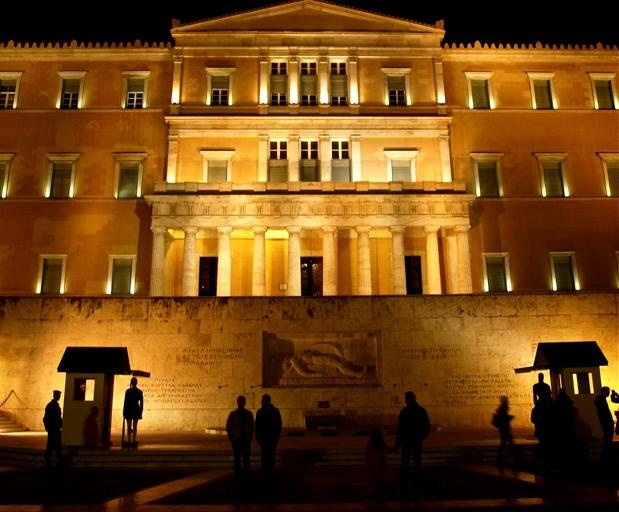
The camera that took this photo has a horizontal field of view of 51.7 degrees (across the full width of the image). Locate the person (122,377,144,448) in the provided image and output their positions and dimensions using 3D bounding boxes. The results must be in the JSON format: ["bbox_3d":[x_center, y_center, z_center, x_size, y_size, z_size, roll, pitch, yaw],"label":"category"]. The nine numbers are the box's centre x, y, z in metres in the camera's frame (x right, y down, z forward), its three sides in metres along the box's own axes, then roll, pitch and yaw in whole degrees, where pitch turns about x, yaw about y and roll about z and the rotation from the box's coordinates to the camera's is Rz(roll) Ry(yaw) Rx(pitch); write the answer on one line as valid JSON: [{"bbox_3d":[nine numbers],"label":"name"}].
[{"bbox_3d":[-5.718,4.988,20.624,0.595,2.162,0.853,2,-8,-16],"label":"person"}]
